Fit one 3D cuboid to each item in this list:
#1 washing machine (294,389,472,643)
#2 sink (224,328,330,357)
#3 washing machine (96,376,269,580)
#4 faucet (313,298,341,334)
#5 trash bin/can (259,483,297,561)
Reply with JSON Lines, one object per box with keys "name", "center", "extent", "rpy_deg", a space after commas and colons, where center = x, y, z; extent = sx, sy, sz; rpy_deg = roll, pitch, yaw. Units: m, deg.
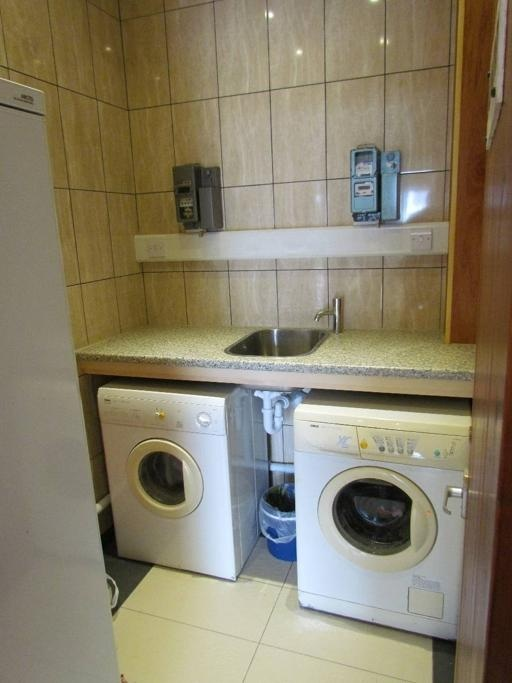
{"name": "washing machine", "center": [0.468, 0.576, 1.896], "extent": [0.548, 0.875, 0.460], "rpy_deg": [2, 21, 20]}
{"name": "sink", "center": [0.122, 0.046, 2.353], "extent": [0.425, 0.140, 0.429], "rpy_deg": [-1, 12, 10]}
{"name": "washing machine", "center": [-0.275, 0.537, 2.439], "extent": [0.635, 1.049, 0.767], "rpy_deg": [2, 9, 17]}
{"name": "faucet", "center": [0.334, -0.120, 2.384], "extent": [0.124, 0.160, 0.150], "rpy_deg": [-1, 11, 7]}
{"name": "trash bin/can", "center": [0.146, 0.805, 2.318], "extent": [0.203, 0.236, 0.244], "rpy_deg": [1, 16, 20]}
